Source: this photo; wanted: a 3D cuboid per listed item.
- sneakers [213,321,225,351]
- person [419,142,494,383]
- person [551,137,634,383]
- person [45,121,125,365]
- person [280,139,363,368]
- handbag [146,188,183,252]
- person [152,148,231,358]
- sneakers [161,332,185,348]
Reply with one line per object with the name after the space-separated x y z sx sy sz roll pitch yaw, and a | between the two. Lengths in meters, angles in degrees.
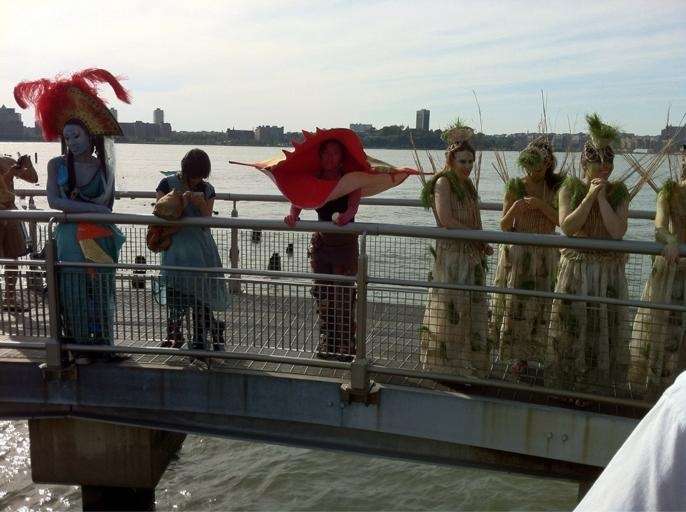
-0.923 0.614 6.390 0.091 0.235 0.196 0 11 -9 | sneakers
0.887 0.022 6.321 0.546 1.782 0.785 1 11 -2 | person
1.820 0.068 6.065 0.575 1.833 0.491 4 11 14 | person
-1.933 -0.120 6.467 0.558 1.831 0.609 -2 11 -17 | person
-0.129 -0.051 6.477 0.537 1.677 0.939 2 11 0 | person
-1.319 -0.259 6.345 0.181 0.428 0.364 32 19 9 | handbag
-1.150 -0.036 6.376 0.594 1.548 0.664 -1 11 -12 | person
-1.269 0.652 6.443 0.113 0.158 0.159 -3 2 34 | sneakers
